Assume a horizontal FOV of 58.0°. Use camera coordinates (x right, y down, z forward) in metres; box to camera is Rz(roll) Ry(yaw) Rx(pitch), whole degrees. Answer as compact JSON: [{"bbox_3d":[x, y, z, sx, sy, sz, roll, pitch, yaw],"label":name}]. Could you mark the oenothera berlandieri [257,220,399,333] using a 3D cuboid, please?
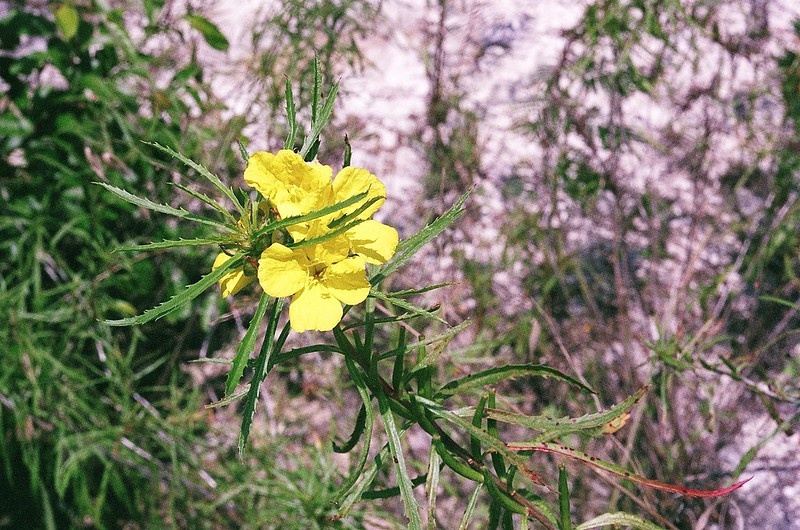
[{"bbox_3d":[-0.222,0.021,2.162,0.340,0.344,0.147,-16,17,-15],"label":"oenothera berlandieri"}]
